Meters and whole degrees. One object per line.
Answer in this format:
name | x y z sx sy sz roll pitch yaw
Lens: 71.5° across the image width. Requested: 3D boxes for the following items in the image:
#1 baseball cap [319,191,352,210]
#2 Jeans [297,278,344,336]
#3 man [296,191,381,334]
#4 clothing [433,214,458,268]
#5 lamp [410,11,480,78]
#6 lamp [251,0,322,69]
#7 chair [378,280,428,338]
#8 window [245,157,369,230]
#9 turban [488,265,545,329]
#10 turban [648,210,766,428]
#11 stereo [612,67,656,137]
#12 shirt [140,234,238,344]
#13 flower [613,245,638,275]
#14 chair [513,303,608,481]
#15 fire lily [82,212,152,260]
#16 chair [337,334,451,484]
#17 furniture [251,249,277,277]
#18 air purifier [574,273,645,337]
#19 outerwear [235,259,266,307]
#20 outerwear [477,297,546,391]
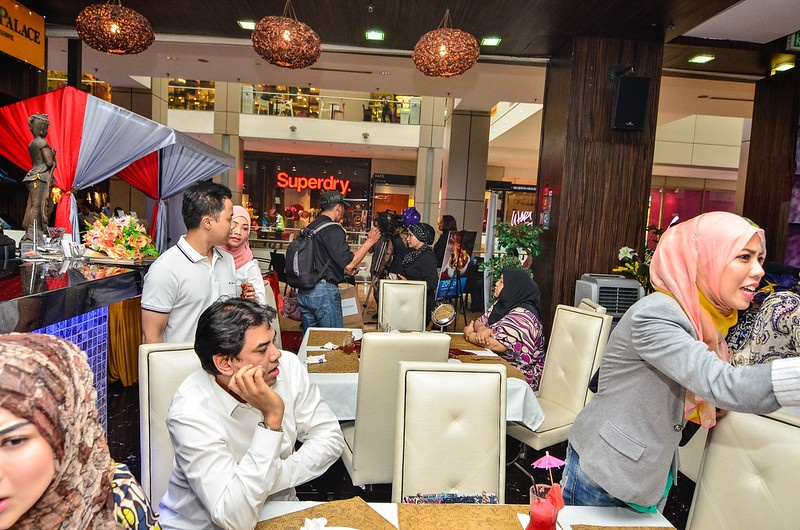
baseball cap | -0.611 -0.596 5.173 0.254 0.174 0.221 -2 6 -14
Jeans | -0.759 0.418 5.280 0.422 0.604 0.328 8 22 38
man | -0.629 0.257 5.402 0.699 1.911 0.661 12 15 35
clothing | 0.706 -0.181 8.572 0.379 1.156 0.370 1 15 -8
lamp | 0.432 -2.111 5.251 0.592 0.746 0.563 1 -21 8
lamp | -0.998 -1.987 4.907 0.564 0.415 0.263 -2 6 -14
chair | 0.033 0.316 5.081 0.449 0.662 0.361 2 33 2
window | -2.685 -2.013 15.004 3.087 2.068 0.115 0 17 -8
turban | 0.916 0.229 4.589 0.365 0.572 0.585 6 -3 2
turban | 1.386 0.191 2.430 0.404 0.877 0.440 0 5 4
stereo | 2.525 -1.748 6.098 0.435 0.610 0.386 10 1 43
shirt | -1.268 0.160 3.392 0.364 0.733 0.764 5 7 34
flower | 2.446 -0.043 6.093 0.299 0.308 0.141 -19 3 -16
chair | 1.059 0.795 3.957 0.685 1.017 0.570 0 6 -33
fire lily | -2.444 -0.248 4.840 0.437 0.206 0.446 26 16 29
chair | -0.047 0.971 3.574 0.690 1.074 0.700 2 -4 2
furniture | -2.023 -0.045 8.382 0.385 0.556 0.398 2 16 -5
air purifier | 2.283 0.494 6.013 0.533 0.740 0.411 2 6 10
outerwear | -1.048 0.126 3.892 0.227 0.302 0.167 -16 -23 -9
outerwear | 0.940 0.604 4.469 0.407 0.682 0.722 1 15 20
